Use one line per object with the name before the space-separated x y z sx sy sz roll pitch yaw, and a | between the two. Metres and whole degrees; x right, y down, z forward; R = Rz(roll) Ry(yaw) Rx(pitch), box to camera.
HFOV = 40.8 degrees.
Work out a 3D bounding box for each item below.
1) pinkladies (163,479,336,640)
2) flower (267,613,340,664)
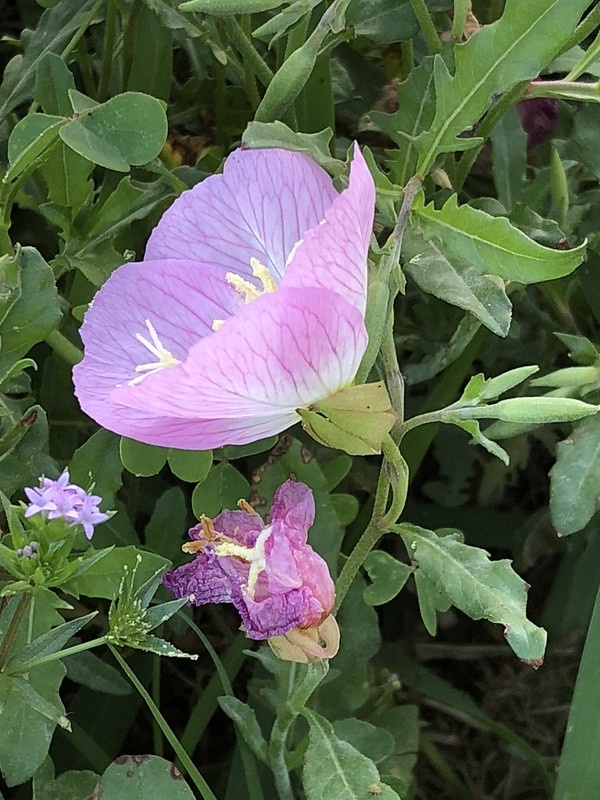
pinkladies | -0.033 0.100 0.503 0.095 0.047 0.091 -22 -7 41
flower | -0.002 0.144 0.492 0.031 0.017 0.039 -11 -12 -44
